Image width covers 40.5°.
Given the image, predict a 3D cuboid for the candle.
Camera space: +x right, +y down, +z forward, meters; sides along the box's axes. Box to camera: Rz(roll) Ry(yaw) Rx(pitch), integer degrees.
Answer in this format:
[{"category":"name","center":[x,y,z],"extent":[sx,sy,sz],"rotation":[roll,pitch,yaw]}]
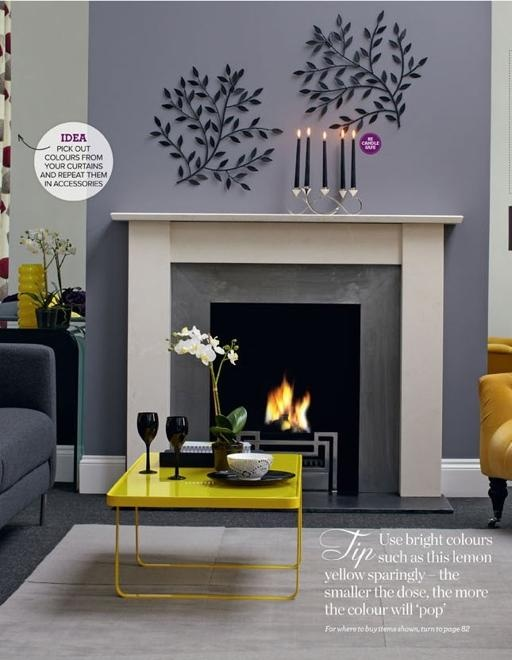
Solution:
[{"category":"candle","center":[0.322,-0.812,3.222],"extent":[0.220,0.303,0.056],"rotation":[1,0,-5]}]

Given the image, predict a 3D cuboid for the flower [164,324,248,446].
[{"category":"flower","center":[-0.220,0.237,2.904],"extent":[0.348,0.788,0.374],"rotation":[0,-11,-3]}]

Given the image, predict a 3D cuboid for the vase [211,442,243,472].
[{"category":"vase","center":[-0.092,0.380,2.092],"extent":[0.065,0.076,0.085],"rotation":[1,-7,2]}]

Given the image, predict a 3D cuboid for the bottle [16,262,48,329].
[{"category":"bottle","center":[-1.104,-0.162,3.395],"extent":[0.116,0.229,0.104],"rotation":[1,0,-14]}]

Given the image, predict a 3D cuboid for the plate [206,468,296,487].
[{"category":"plate","center":[-0.014,0.429,2.024],"extent":[0.254,0.015,0.196],"rotation":[1,0,8]}]
